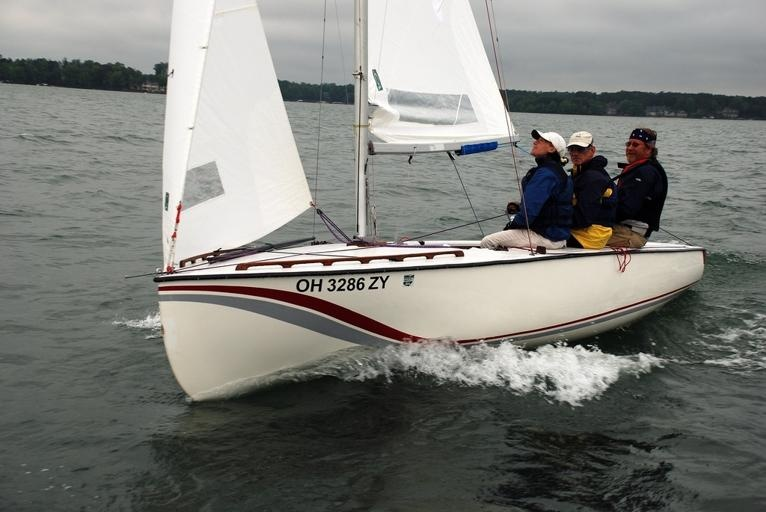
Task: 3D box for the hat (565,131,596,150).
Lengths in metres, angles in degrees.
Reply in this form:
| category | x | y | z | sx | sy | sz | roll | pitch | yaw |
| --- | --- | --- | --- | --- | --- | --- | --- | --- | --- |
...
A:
| category | x | y | z | sx | sy | sz | roll | pitch | yaw |
| --- | --- | --- | --- | --- | --- | --- | --- | --- | --- |
| hat | 2.407 | -1.394 | 7.979 | 0.284 | 0.121 | 0.372 | -2 | 0 | 42 |
